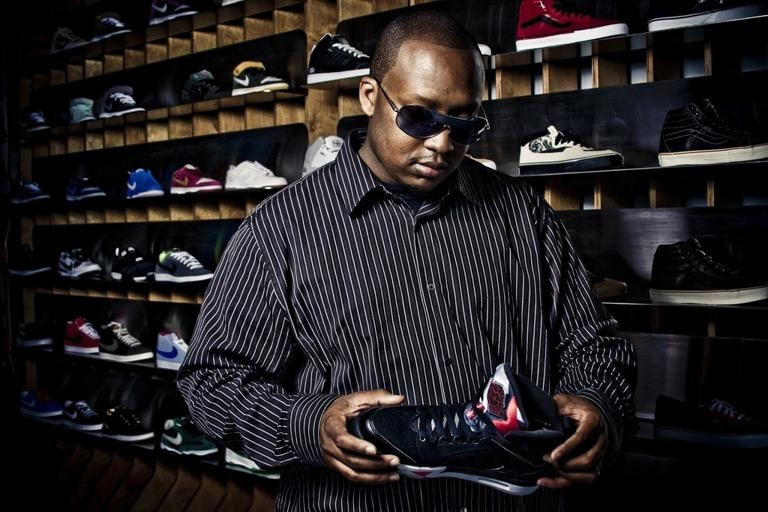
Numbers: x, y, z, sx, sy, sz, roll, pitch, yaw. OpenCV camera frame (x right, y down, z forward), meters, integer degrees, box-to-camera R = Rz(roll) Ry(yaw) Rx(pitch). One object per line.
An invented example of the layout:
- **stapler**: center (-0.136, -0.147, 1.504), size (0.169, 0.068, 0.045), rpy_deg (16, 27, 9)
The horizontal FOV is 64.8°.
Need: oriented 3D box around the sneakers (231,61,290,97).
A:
- **sneakers**: center (-0.835, -1.142, 3.939), size (0.492, 0.219, 0.161), rpy_deg (-4, 0, 10)
